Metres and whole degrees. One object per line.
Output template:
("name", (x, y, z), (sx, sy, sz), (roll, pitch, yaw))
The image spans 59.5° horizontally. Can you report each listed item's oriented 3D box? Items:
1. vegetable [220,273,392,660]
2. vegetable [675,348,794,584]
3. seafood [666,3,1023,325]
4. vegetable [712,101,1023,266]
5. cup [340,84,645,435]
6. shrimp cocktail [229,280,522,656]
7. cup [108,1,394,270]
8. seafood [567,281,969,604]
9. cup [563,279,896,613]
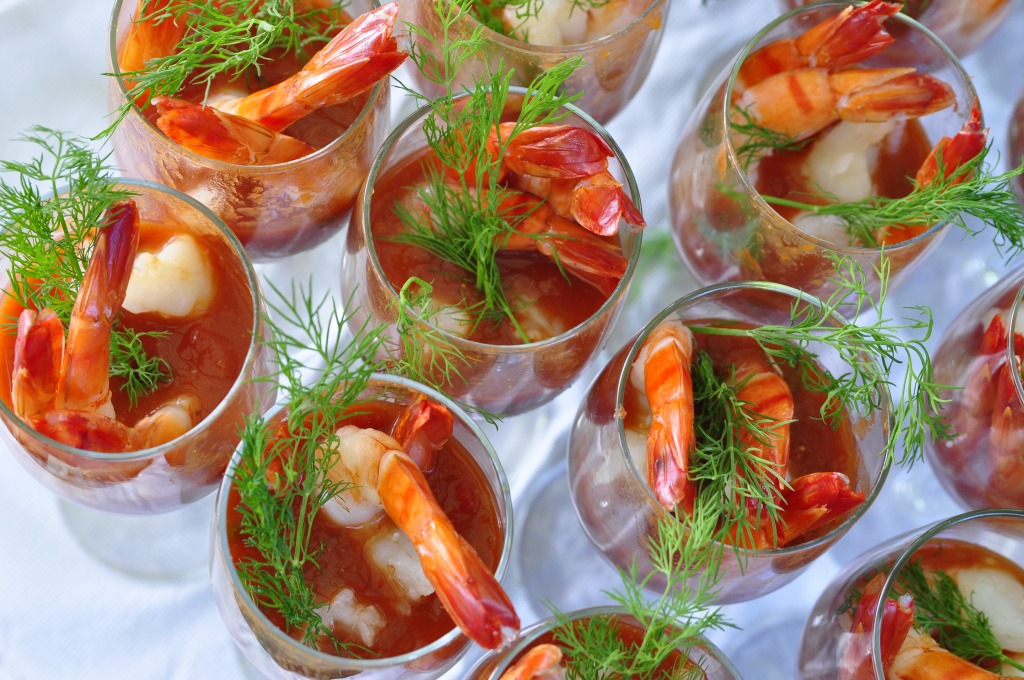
("vegetable", (-0.295, 0.149, 1.207), (0.246, 0.490, 0.116), (10, -9, -42))
("vegetable", (0.324, 0.176, 1.261), (0.163, 0.278, 0.091), (0, -27, 7))
("seafood", (0.424, -0.210, 1.566), (0.482, 0.533, 0.763), (4, -4, -2))
("vegetable", (0.581, -0.206, 1.459), (0.335, 0.288, 0.181), (7, -35, -2))
("cup", (-0.004, -0.109, 1.399), (0.400, 0.480, 0.486), (4, -10, -9))
("shrimp cocktail", (-0.190, 0.213, 1.160), (0.315, 0.520, 0.272), (-12, -2, -35))
("cup", (-0.390, -0.229, 1.409), (0.365, 0.408, 0.390), (-3, -15, -1))
("seafood", (0.314, 0.124, 1.411), (0.421, 0.499, 0.474), (26, -14, -8))
("cup", (0.334, 0.170, 1.420), (0.413, 0.489, 0.461), (11, -15, -10))
